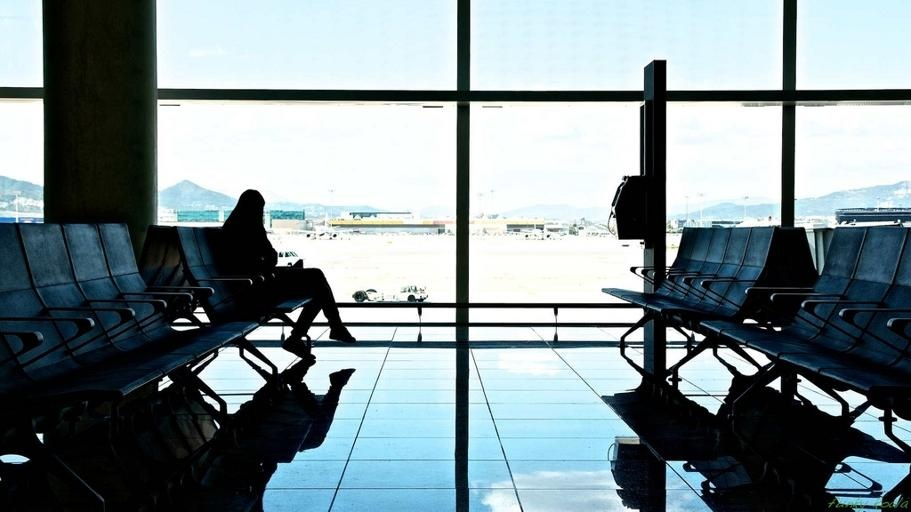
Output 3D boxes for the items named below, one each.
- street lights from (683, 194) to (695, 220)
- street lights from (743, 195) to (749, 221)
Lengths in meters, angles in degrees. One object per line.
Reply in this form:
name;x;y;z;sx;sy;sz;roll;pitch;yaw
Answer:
street lights;2.964;-0.635;8.923;0.104;0.286;0.269;4;11;17
street lights;3.655;-0.614;8.785;0.073;0.260;0.241;4;11;20
